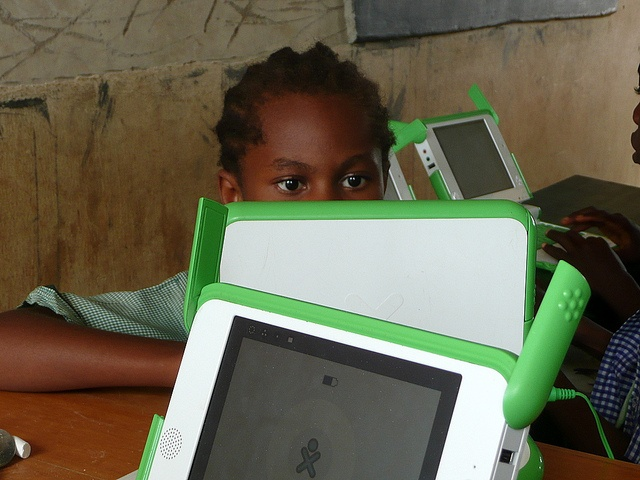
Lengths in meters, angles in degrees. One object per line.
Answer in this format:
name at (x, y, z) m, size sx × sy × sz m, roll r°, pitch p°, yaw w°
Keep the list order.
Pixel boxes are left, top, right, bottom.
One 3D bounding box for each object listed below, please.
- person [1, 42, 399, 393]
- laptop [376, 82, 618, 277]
person at (-0.249, -0.055, 1.657) m, size 0.714 × 0.888 × 0.337 m, roll 22°, pitch 6°, yaw -21°
laptop at (0.428, -0.205, 1.983) m, size 0.440 × 0.383 × 0.575 m, roll -23°, pitch 38°, yaw -38°
